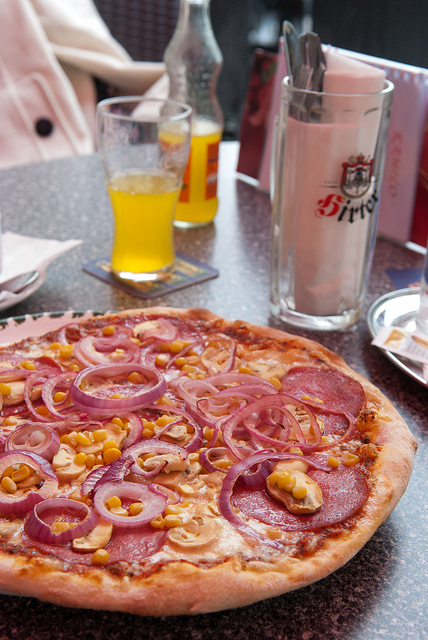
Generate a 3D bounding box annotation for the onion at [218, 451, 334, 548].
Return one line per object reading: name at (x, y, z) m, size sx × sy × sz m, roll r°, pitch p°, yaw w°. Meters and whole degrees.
onion at (0.027, 0.164, 0.599) m, size 0.183 × 0.057 × 0.135 m, roll 3°, pitch 21°, yaw -15°

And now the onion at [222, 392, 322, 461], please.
onion at (0.063, 0.122, 0.614) m, size 0.124 × 0.025 × 0.082 m, roll 1°, pitch 22°, yaw -17°

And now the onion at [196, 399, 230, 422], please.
onion at (-0.001, 0.101, 0.636) m, size 0.013 × 0.027 × 0.020 m, roll -47°, pitch 24°, yaw -29°

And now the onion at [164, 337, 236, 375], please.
onion at (-0.020, 0.052, 0.769) m, size 0.081 × 0.024 × 0.068 m, roll -9°, pitch 15°, yaw -21°

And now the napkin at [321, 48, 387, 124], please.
napkin at (0.190, -0.317, 0.748) m, size 0.090 × 0.081 × 0.087 m, roll 7°, pitch 34°, yaw 6°

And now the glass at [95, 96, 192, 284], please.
glass at (-0.131, -0.254, 1.052) m, size 0.194 × 0.306 × 0.210 m, roll -18°, pitch 39°, yaw -27°

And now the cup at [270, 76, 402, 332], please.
cup at (0.170, -0.161, 0.852) m, size 0.172 × 0.375 × 0.128 m, roll 4°, pitch 35°, yaw 3°

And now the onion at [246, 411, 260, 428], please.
onion at (0.045, 0.113, 0.628) m, size 0.015 × 0.015 × 0.015 m, roll 19°, pitch 49°, yaw 22°
